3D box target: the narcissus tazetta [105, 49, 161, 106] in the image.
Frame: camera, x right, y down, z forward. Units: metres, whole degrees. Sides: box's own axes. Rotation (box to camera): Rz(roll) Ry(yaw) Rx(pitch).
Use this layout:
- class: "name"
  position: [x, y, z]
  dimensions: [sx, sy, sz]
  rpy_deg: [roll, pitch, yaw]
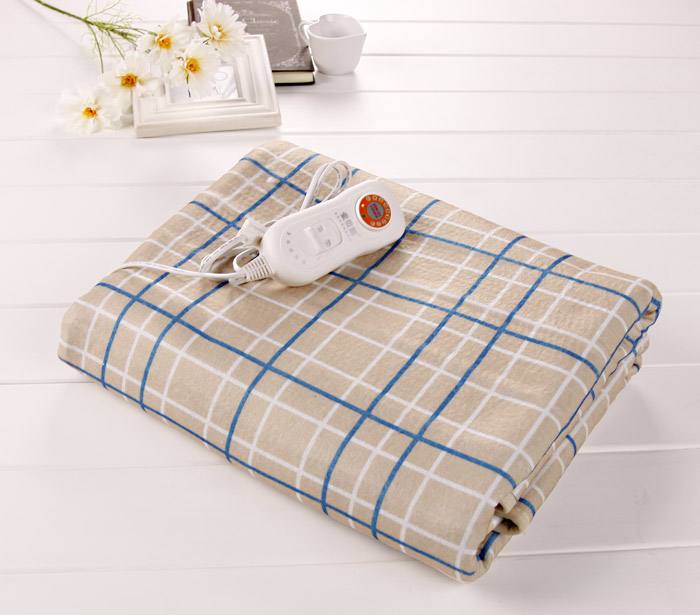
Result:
- class: "narcissus tazetta"
  position: [-0.287, -0.305, 0.889]
  dimensions: [0.085, 0.073, 0.055]
  rpy_deg: [-14, 51, -12]

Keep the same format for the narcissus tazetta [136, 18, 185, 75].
- class: "narcissus tazetta"
  position: [-0.244, -0.343, 0.880]
  dimensions: [0.068, 0.060, 0.034]
  rpy_deg: [-6, 25, -10]
